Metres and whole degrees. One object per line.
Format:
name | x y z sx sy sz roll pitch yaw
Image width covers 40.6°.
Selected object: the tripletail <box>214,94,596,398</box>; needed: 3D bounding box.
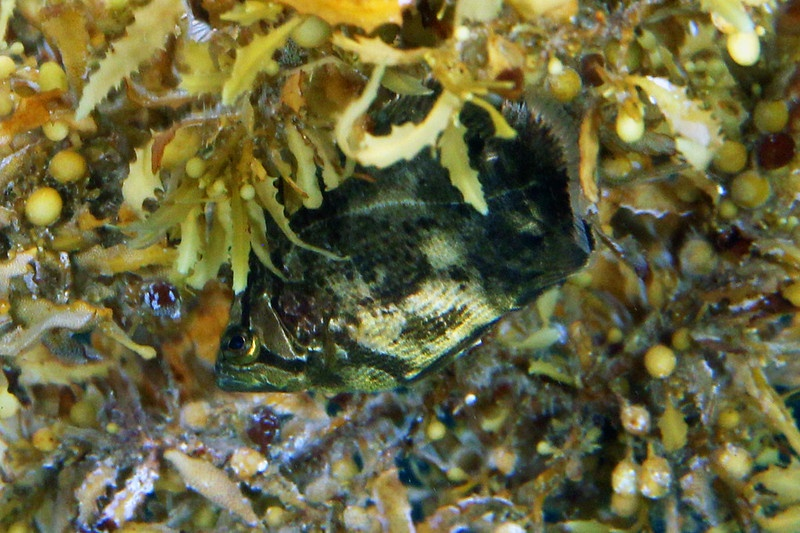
tripletail | -0.010 -0.058 2.102 0.636 0.422 0.180 -26 20 12
